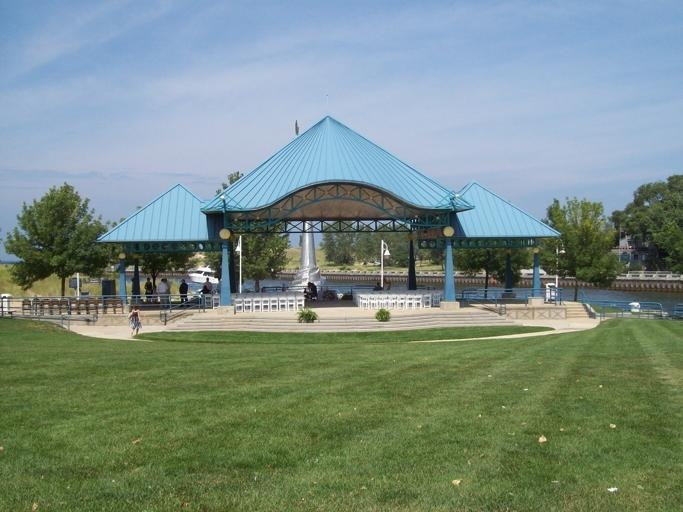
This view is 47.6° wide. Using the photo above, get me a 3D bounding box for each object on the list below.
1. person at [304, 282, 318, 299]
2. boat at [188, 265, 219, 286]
[{"bbox_3d":[-2.282,2.604,57.193,1.049,1.619,1.187,-2,4,-5],"label":"person"},{"bbox_3d":[-18.969,2.595,105.412,2.176,2.899,7.636,-2,-6,8],"label":"boat"}]
